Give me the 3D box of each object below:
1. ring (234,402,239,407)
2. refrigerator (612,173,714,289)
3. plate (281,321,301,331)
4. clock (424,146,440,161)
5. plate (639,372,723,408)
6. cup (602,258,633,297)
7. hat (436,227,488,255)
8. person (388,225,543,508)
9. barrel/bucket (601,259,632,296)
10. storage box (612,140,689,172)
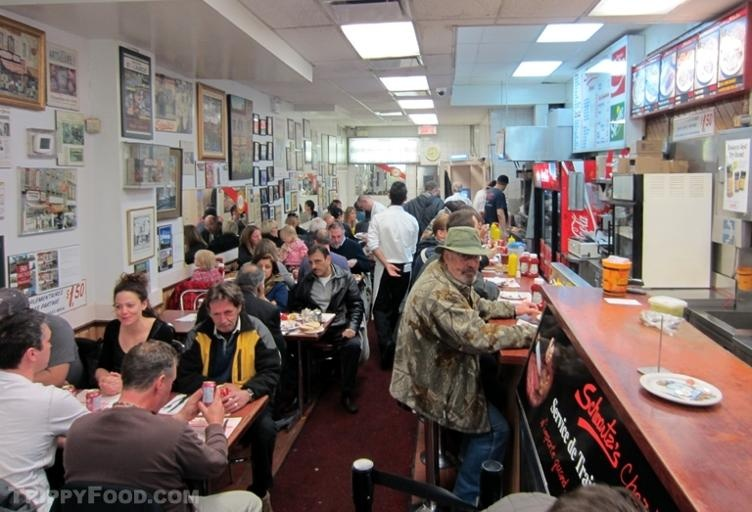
[{"bbox_3d":[-0.924,0.984,3.264,0.018,0.008,0.025,7,38,-8],"label":"ring"},{"bbox_3d":[2.411,-0.211,4.079,0.631,0.952,0.966,1,2,14],"label":"refrigerator"},{"bbox_3d":[-0.836,0.681,4.774,0.111,0.030,0.096,6,8,9],"label":"plate"},{"bbox_3d":[1.832,-3.336,16.021,0.501,0.515,0.282,1,12,5],"label":"clock"},{"bbox_3d":[1.043,0.465,1.700,0.238,0.050,0.176,-1,12,-4],"label":"plate"},{"bbox_3d":[1.457,0.117,2.915,0.164,0.219,0.213,6,12,28],"label":"cup"},{"bbox_3d":[0.543,-0.094,3.108,0.267,0.191,0.202,-1,12,-3],"label":"hat"},{"bbox_3d":[0.532,0.694,3.138,0.840,1.743,0.402,6,13,30],"label":"person"},{"bbox_3d":[1.427,0.117,2.901,0.162,0.217,0.211,5,11,25],"label":"barrel/bucket"},{"bbox_3d":[2.520,-0.901,4.468,0.537,0.287,0.516,3,13,18],"label":"storage box"}]
